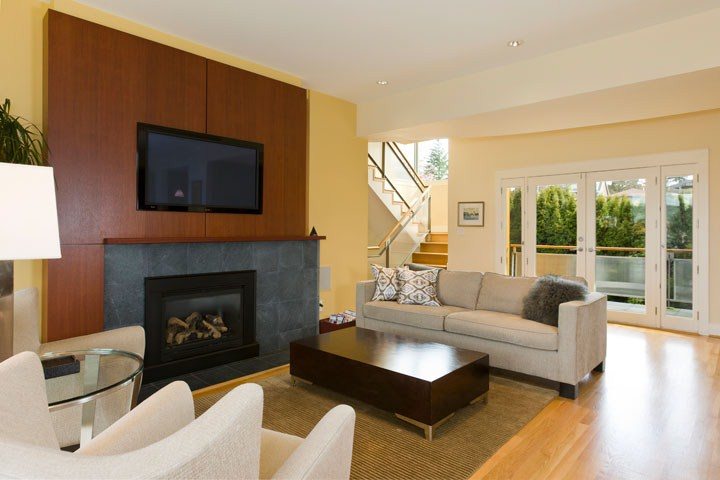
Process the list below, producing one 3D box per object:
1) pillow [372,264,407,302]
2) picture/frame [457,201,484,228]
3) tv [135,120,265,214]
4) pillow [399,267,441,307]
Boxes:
[{"bbox_3d":[0.371,0.548,6.155,0.442,0.391,0.159,0,-16,5],"label":"pillow"},{"bbox_3d":[1.935,-0.447,8.529,0.481,0.430,0.032,-1,-6,41],"label":"picture/frame"},{"bbox_3d":[-1.825,-0.811,5.470,1.205,0.697,0.086,2,-1,-38],"label":"tv"},{"bbox_3d":[0.733,0.589,6.012,0.452,0.416,0.158,2,-40,4],"label":"pillow"}]
